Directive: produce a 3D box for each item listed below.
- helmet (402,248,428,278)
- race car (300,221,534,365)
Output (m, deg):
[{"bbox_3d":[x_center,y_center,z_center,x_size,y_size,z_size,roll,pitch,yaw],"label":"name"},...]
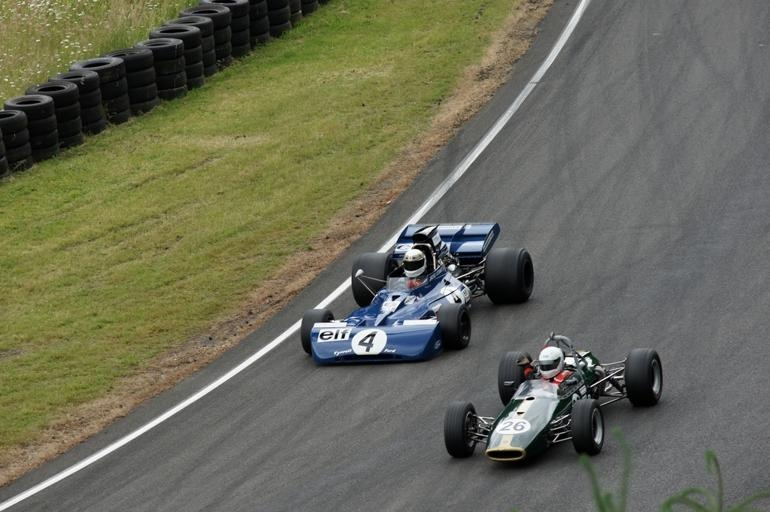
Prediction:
[{"bbox_3d":[0.645,0.142,30.337,0.469,0.481,0.588,-1,20,13],"label":"helmet"},{"bbox_3d":[0.784,0.689,30.583,4.077,1.929,5.298,-4,13,18],"label":"race car"}]
